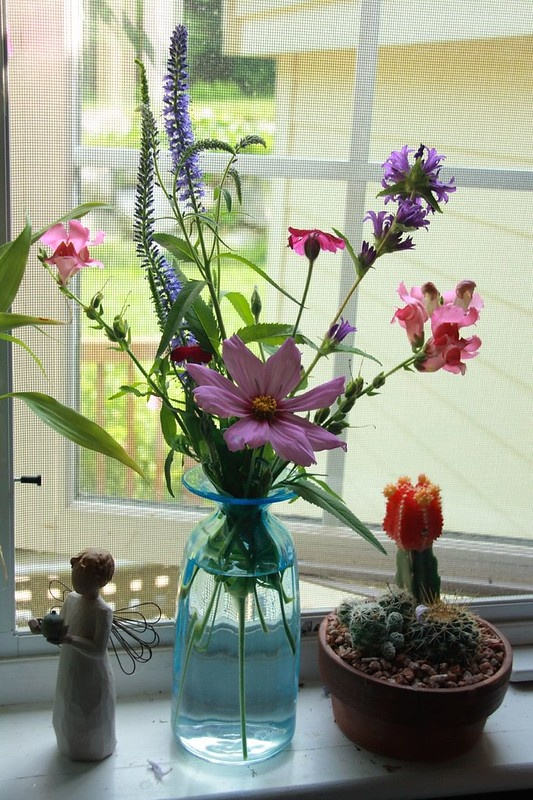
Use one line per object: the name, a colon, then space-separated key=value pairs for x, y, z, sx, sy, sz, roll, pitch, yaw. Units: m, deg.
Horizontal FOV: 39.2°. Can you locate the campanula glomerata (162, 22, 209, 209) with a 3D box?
campanula glomerata: x=-0.084 y=-0.263 z=0.723 sx=0.042 sy=0.171 sz=0.067 roll=3 pitch=14 yaw=-10

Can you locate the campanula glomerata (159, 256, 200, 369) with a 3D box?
campanula glomerata: x=-0.077 y=-0.074 z=0.646 sx=0.020 sy=0.067 sz=0.038 roll=-7 pitch=21 yaw=-20

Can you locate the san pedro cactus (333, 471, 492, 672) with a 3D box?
san pedro cactus: x=0.165 y=0.182 z=0.918 sx=0.178 sy=0.212 sz=0.154 roll=-3 pitch=13 yaw=-19

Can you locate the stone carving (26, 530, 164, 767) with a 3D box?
stone carving: x=-0.208 y=0.278 z=0.822 sx=0.104 sy=0.220 sz=0.178 roll=0 pitch=2 yaw=-37
